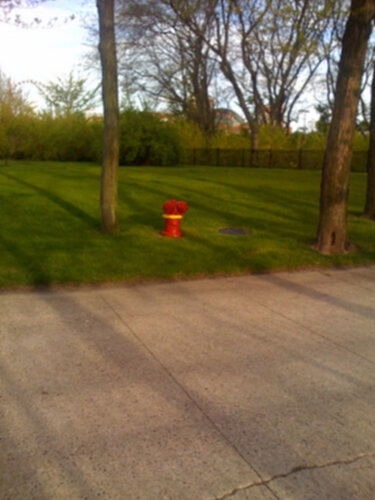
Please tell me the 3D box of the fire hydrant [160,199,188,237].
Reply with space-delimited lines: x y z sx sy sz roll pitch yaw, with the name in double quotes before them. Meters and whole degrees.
"fire hydrant" -0.318 -0.683 8.906 0.519 0.804 0.558 2 10 -4
